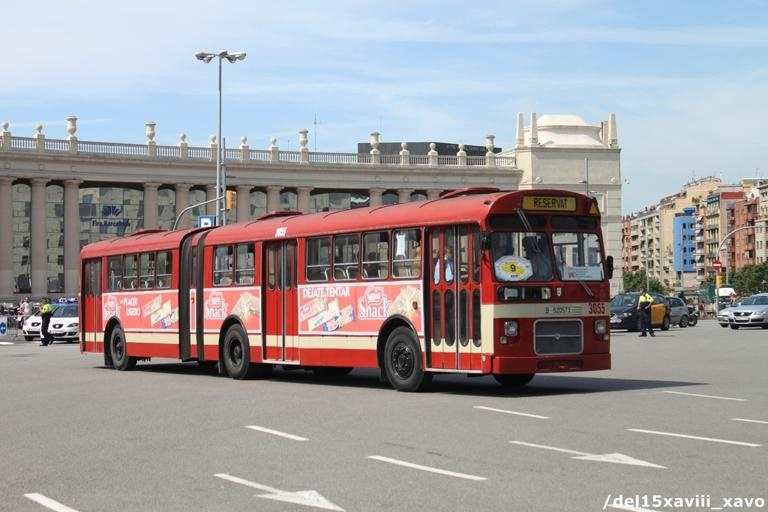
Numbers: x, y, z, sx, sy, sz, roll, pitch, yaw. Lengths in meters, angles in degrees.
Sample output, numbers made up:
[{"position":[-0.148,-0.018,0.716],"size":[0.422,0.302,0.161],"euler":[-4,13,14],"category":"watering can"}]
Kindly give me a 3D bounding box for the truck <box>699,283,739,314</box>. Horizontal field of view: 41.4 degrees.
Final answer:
[{"position":[28.529,3.711,87.566],"size":[2.100,3.244,6.520],"euler":[0,-2,-7],"category":"truck"}]

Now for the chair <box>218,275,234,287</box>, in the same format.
[{"position":[-3.945,0.634,25.257],"size":[0.395,0.394,0.222],"euler":[3,4,42],"category":"chair"}]

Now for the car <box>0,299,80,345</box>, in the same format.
[{"position":[-17.651,3.471,51.957],"size":[2.051,1.212,3.654],"euler":[-1,-9,-2],"category":"car"}]

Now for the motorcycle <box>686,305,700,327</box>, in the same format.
[{"position":[17.514,3.515,58.016],"size":[0.641,1.849,1.231],"euler":[-1,-1,31],"category":"motorcycle"}]

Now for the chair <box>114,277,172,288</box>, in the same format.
[{"position":[-6.723,0.804,28.422],"size":[1.877,0.326,0.217],"euler":[-5,-12,45],"category":"chair"}]

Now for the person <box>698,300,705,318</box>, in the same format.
[{"position":[24.456,4.253,78.594],"size":[0.371,1.143,1.622],"euler":[0,-1,16],"category":"person"}]

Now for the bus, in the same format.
[{"position":[-2.774,0.939,26.678],"size":[4.702,5.024,18.529],"euler":[1,-5,-37],"category":"bus"}]

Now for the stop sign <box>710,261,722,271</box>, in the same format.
[{"position":[34.163,1.081,105.012],"size":[0.310,1.210,1.604],"euler":[-10,-11,38],"category":"stop sign"}]
